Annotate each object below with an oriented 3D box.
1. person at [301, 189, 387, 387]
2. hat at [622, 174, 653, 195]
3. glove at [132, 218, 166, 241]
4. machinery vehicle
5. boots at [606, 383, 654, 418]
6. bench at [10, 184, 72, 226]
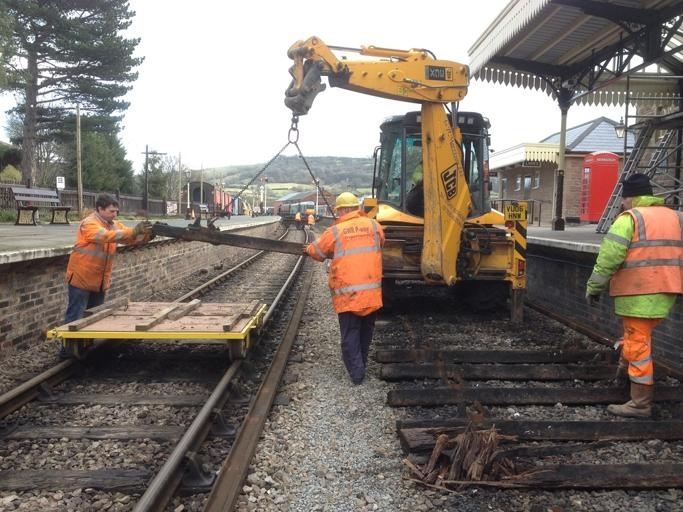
[{"bbox_3d":[0.101,0.351,6.832,0.839,2.264,0.850,0,9,4],"label":"person"},{"bbox_3d":[3.231,-0.748,5.988,0.268,0.230,0.277,-1,-1,9],"label":"hat"},{"bbox_3d":[-2.565,-0.305,7.182,0.340,0.304,0.726,-4,10,-20],"label":"glove"},{"bbox_3d":[0.785,-1.173,8.872,4.293,4.046,2.713,-2,17,-31],"label":"machinery vehicle"},{"bbox_3d":[3.122,1.532,5.924,0.589,0.394,0.238,1,2,17],"label":"boots"},{"bbox_3d":[-11.356,-1.823,20.696,2.888,1.228,1.060,3,-3,42],"label":"bench"}]
